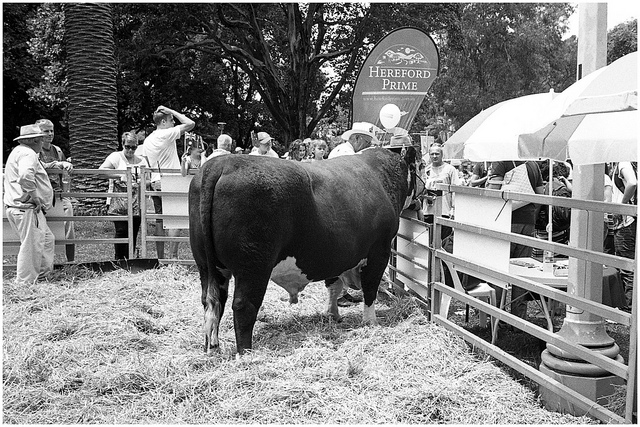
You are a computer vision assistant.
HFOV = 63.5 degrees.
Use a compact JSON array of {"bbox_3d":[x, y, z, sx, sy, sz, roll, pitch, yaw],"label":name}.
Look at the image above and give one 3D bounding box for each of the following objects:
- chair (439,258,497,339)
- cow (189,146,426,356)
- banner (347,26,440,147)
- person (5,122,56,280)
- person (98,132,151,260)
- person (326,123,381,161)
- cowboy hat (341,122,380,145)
[{"bbox_3d":[2.012,1.124,7.155,0.847,1.084,0.873,1,5,-5],"label":"chair"},{"bbox_3d":[-0.106,0.529,6.619,0.846,1.575,2.678,1,4,42],"label":"cow"},{"bbox_3d":[1.715,-2.874,12.315,1.977,3.959,0.142,7,-25,19],"label":"banner"},{"bbox_3d":[-4.885,-0.207,8.758,0.617,2.587,0.808,2,5,4],"label":"person"},{"bbox_3d":[-3.747,-0.333,10.010,0.913,2.496,1.001,-1,5,-23],"label":"person"},{"bbox_3d":[0.788,-1.269,8.755,0.680,0.407,1.022,-4,10,44],"label":"person"},{"bbox_3d":[0.685,-1.346,8.384,0.466,0.179,0.409,17,-7,-8],"label":"cowboy hat"}]
